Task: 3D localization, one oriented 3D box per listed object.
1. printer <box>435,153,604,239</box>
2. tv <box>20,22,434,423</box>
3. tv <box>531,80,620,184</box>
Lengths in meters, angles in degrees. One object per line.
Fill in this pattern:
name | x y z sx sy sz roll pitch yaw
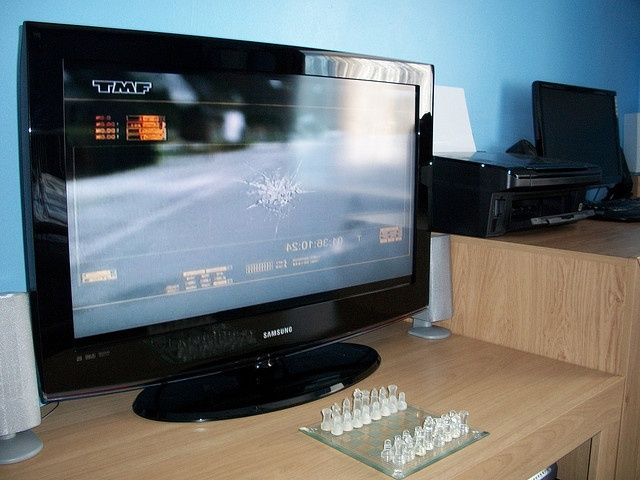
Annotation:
printer | 0.533 -0.191 1.360 0.408 0.188 0.298 -10 18 -34
tv | -0.190 -0.021 0.949 0.864 0.595 0.238 -8 13 -36
tv | 0.933 -0.390 1.807 0.554 0.355 0.049 1 -7 -41
